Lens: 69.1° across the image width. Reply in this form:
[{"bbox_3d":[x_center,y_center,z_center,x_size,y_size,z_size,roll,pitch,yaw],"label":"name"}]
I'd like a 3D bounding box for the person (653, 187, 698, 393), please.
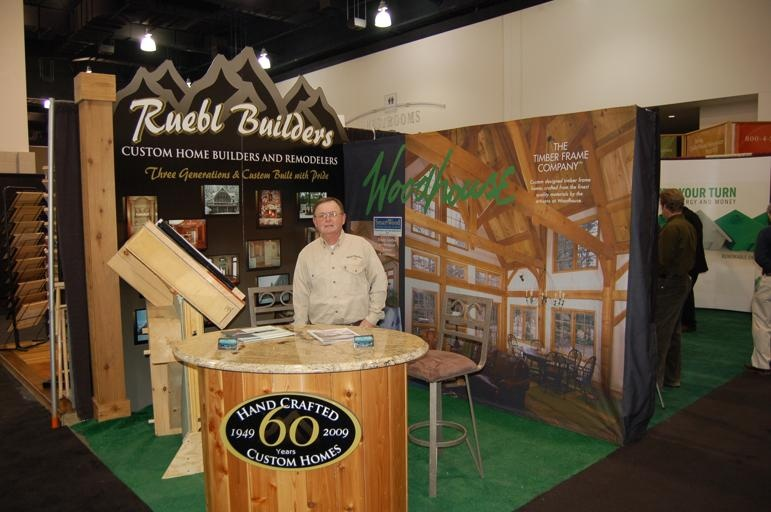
[{"bbox_3d":[3.240,0.416,6.331,0.400,2.237,0.939,6,13,28],"label":"person"}]

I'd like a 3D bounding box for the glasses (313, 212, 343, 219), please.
[{"bbox_3d":[-0.518,-0.374,5.095,0.234,0.055,0.061,-2,13,-7],"label":"glasses"}]

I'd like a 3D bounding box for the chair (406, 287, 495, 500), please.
[{"bbox_3d":[0.523,1.226,5.143,0.762,1.708,0.793,0,4,-15],"label":"chair"}]
